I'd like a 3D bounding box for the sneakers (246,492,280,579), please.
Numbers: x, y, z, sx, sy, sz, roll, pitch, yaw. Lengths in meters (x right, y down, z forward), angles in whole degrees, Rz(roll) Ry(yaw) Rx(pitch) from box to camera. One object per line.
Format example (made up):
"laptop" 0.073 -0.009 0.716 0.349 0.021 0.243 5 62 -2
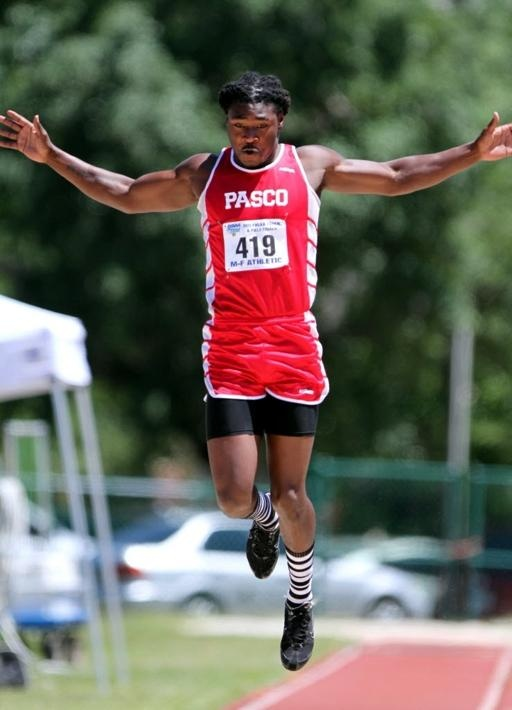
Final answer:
"sneakers" 0.031 0.748 3.971 0.171 0.356 0.175 3 18 7

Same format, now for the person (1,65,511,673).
"person" 0.157 0.089 3.892 1.782 2.410 0.803 -9 9 -3

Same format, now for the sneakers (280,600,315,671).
"sneakers" 0.165 1.126 3.830 0.132 0.273 0.130 0 -9 5
